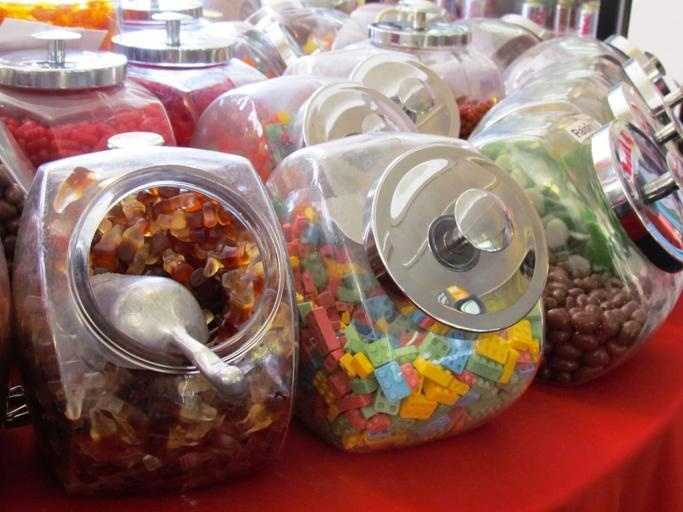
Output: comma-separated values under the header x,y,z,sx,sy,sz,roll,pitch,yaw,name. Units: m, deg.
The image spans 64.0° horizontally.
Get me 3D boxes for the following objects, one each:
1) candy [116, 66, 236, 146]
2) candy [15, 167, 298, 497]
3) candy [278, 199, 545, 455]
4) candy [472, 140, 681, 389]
x,y,z,sx,sy,sz,roll,pitch,yaw,name
-0.323,-0.320,1.070,0.163,0.186,0.169,26,30,31,candy
-0.179,0.058,0.751,0.331,0.421,0.265,-1,11,-12,candy
0.075,0.116,0.829,0.294,0.231,0.354,-13,76,-43,candy
0.384,-0.006,0.982,0.302,0.350,0.333,-10,21,46,candy
